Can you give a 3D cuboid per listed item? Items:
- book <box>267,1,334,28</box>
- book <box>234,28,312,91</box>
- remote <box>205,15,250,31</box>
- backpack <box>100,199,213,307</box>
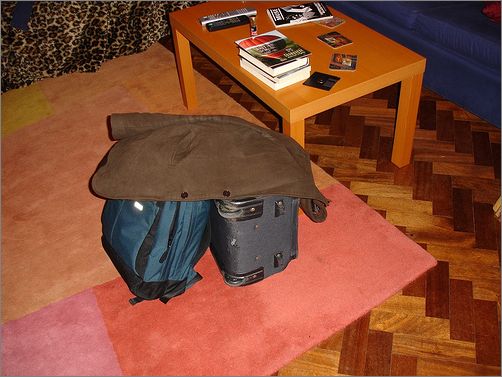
[{"bbox_3d":[0.324,-1.121,2.827,0.370,0.036,0.199,-10,52,-8],"label":"book"},{"bbox_3d":[0.104,-0.760,2.312,0.302,0.126,0.387,-27,52,-23],"label":"book"},{"bbox_3d":[-0.155,-1.080,2.759,0.277,0.047,0.113,-14,52,-12],"label":"remote"},{"bbox_3d":[-0.495,0.280,2.032,0.595,0.524,0.391,3,49,9],"label":"backpack"}]
